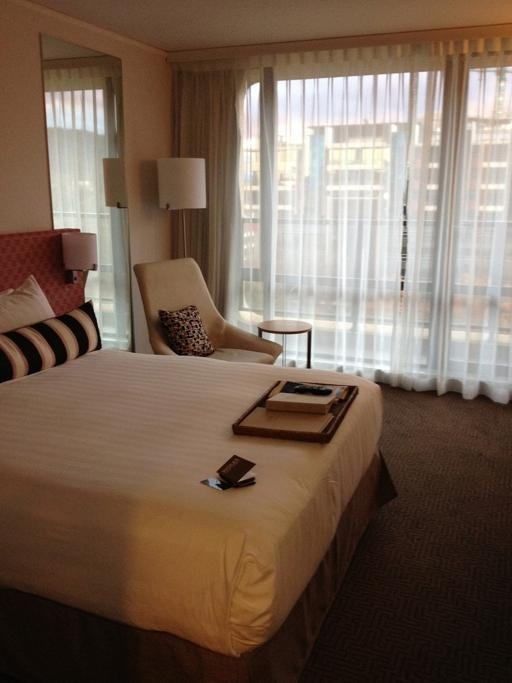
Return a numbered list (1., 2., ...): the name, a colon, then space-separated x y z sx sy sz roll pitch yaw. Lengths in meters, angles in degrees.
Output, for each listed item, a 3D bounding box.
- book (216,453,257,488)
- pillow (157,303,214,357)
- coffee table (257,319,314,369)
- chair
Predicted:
1. book: -0.066 0.381 1.560 0.073 0.021 0.079 18 34 18
2. pillow: -0.500 -0.091 3.801 0.377 0.357 0.102 -6 -18 -43
3. coffee table: 0.310 0.031 4.421 0.460 0.423 0.412 6 14 39
4. chair: -0.462 -0.166 4.054 1.017 0.800 0.828 11 20 39
